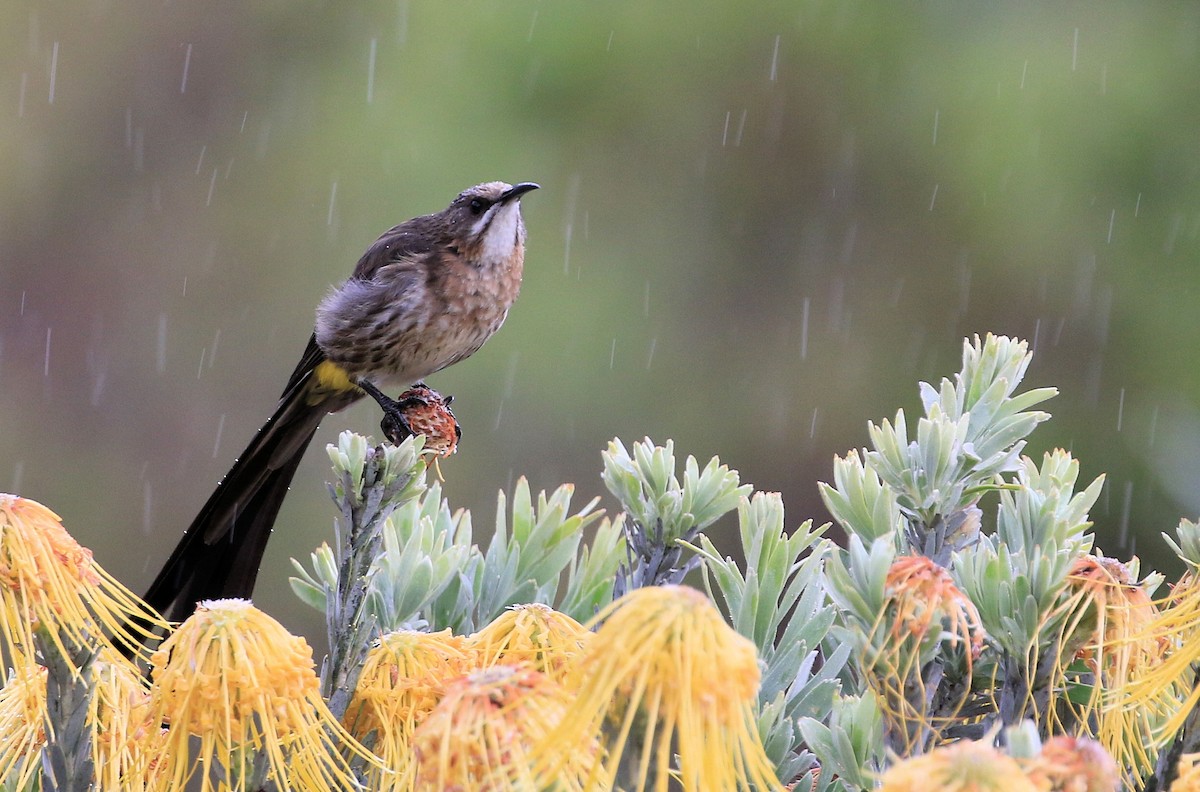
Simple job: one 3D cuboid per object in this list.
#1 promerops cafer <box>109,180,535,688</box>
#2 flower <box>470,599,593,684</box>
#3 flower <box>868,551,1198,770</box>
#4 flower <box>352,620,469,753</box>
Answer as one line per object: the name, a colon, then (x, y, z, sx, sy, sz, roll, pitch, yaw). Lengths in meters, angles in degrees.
promerops cafer: (-0.849, -0.070, 4.837, 1.812, 0.813, 0.494, -17, -8, 37)
flower: (-0.146, 0.494, 2.973, 0.159, 0.104, 0.169, 8, -1, 12)
flower: (0.865, 0.527, 2.963, 0.664, 0.388, 0.375, -2, -14, 5)
flower: (-0.408, 0.602, 3.041, 0.235, 0.228, 0.243, 1, -22, -19)
